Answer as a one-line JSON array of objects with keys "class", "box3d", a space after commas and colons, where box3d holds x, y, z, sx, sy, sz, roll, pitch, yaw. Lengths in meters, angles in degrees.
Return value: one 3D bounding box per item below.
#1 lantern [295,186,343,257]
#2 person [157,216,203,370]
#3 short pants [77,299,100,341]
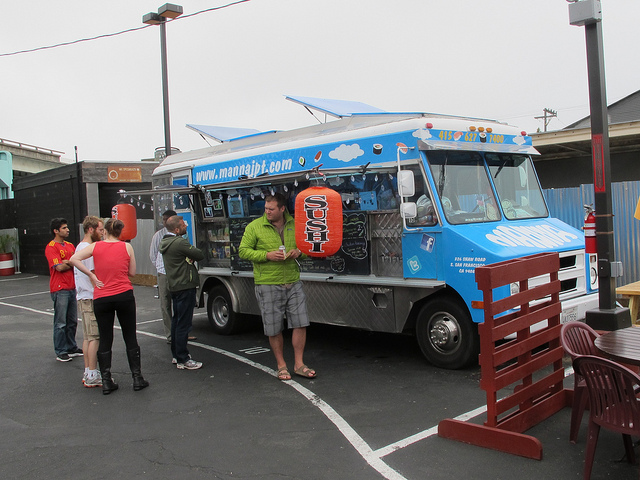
[{"class": "lantern", "box3d": [0.010, -0.249, 6.787, 0.657, 1.081, 0.680, -4, 5, -20]}, {"class": "person", "box3d": [-2.135, 0.826, 7.324, 0.605, 2.397, 0.430, -5, 4, -13]}, {"class": "short pants", "box3d": [-3.296, 1.147, 6.682, 0.178, 0.447, 0.600, -7, 5, -32]}]
